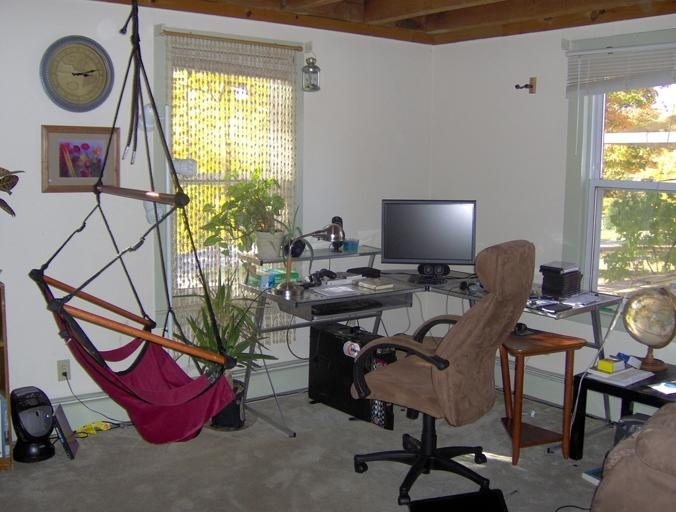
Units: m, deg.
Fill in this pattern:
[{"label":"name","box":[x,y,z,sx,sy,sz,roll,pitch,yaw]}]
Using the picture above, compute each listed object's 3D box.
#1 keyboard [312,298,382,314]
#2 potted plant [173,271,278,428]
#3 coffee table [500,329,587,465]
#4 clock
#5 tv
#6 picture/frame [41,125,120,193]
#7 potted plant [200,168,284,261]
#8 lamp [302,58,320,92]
[{"label":"keyboard","box":[0.047,0.377,4.454,0.355,0.050,0.187,-3,4,-33]},{"label":"potted plant","box":[-0.749,0.717,4.719,0.866,1.244,1.025,-1,9,-2]},{"label":"coffee table","box":[1.491,1.022,4.288,0.578,0.792,0.819,-3,10,-11]},{"label":"clock","box":[-1.850,-1.276,4.130,0.568,0.559,0.062,-4,8,-31]},{"label":"tv","box":[0.738,-0.142,4.852,0.699,0.615,0.231,0,3,2]},{"label":"picture/frame","box":[-1.818,-0.679,4.104,0.660,0.624,0.046,-4,12,-26]},{"label":"potted plant","box":[-0.713,-0.362,4.825,0.622,0.549,0.627,11,26,13]},{"label":"lamp","box":[-0.222,-1.457,4.759,0.128,0.269,0.240,0,12,-2]}]
